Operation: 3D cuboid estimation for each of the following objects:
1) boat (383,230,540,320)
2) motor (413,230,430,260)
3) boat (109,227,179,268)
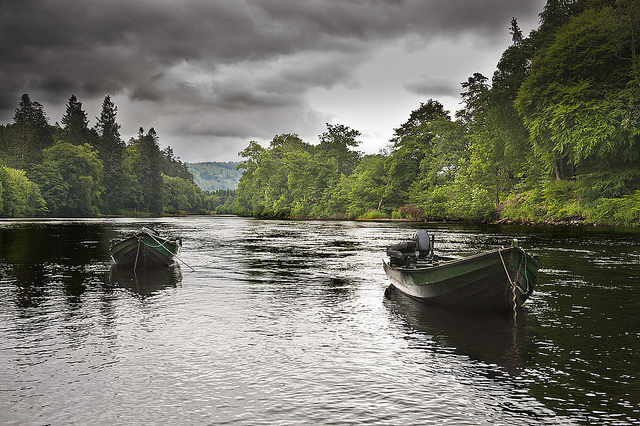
[{"bbox_3d":[4.971,1.926,19.943,3.046,3.197,6.283,-6,12,-31],"label":"boat"},{"bbox_3d":[4.429,1.487,21.687,0.739,1.257,0.931,0,-37,14],"label":"motor"},{"bbox_3d":[-9.757,1.980,28.680,3.416,2.372,1.262,-3,12,-17],"label":"boat"}]
